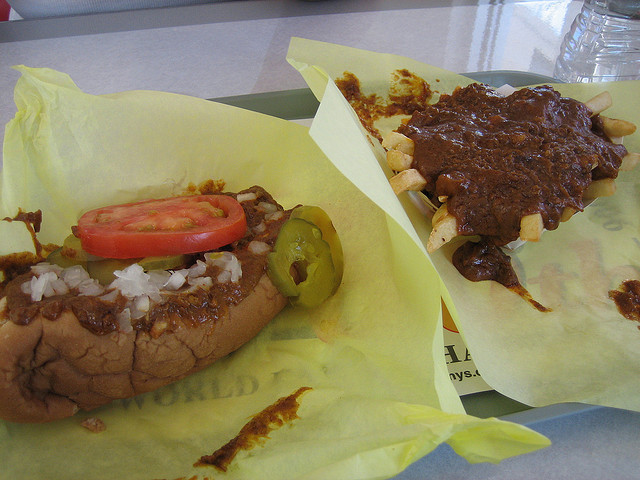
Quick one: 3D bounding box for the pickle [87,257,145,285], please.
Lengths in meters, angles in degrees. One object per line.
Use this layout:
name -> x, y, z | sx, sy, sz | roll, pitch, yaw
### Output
pickle -> -0.520, 0.072, 1.456 | 0.144, 0.061, 0.118 | -9, 14, -39

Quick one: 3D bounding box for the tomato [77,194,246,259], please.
tomato -> -0.396, -0.041, 1.444 | 0.413, 0.086, 0.212 | 0, 30, -8

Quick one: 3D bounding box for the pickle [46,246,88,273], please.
pickle -> -0.643, 0.051, 1.436 | 0.073, 0.019, 0.073 | 25, 29, 31

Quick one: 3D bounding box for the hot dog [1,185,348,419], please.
hot dog -> -0.342, 0.183, 1.458 | 0.741, 0.216, 0.493 | -13, 44, -19

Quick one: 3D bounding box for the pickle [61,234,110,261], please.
pickle -> -0.596, 0.028, 1.441 | 0.084, 0.019, 0.082 | 7, 31, -20

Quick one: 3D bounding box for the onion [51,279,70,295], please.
onion -> -0.609, 0.112, 1.343 | 0.027, 0.011, 0.040 | -23, 76, -37

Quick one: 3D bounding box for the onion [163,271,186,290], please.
onion -> -0.341, 0.100, 1.353 | 0.019, 0.034, 0.044 | 43, 64, -8

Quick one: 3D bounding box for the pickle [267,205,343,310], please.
pickle -> -0.028, 0.055, 1.518 | 0.136, 0.334, 0.275 | 0, 1, 22

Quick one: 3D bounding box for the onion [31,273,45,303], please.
onion -> -0.647, 0.114, 1.317 | 0.019, 0.015, 0.055 | 22, 63, -6
